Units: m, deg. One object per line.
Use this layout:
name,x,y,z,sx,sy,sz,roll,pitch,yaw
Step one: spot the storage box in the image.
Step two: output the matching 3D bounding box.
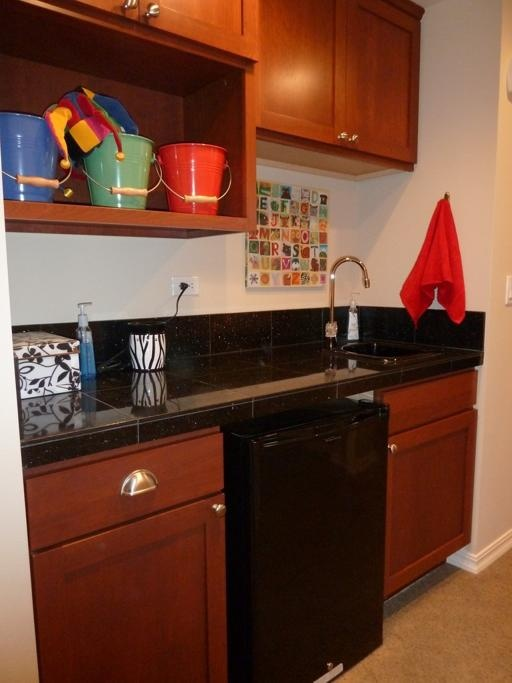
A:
storage box,-0.534,0.032,1.262,0.142,0.127,0.250,-7,18,-30

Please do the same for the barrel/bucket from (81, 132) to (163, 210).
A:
barrel/bucket,-0.326,-0.403,1.221,0.174,0.144,0.176,2,17,-1

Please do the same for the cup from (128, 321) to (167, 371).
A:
cup,-0.314,0.010,1.572,0.122,0.165,0.127,-1,6,0

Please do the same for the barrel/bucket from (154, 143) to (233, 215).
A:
barrel/bucket,-0.160,-0.414,1.355,0.205,0.169,0.205,1,15,0

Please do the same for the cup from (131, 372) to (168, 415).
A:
cup,-0.249,0.122,1.201,0.077,0.132,0.085,1,2,-11

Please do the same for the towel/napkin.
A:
towel/napkin,0.686,-0.324,1.945,0.222,0.520,0.118,3,-10,25
